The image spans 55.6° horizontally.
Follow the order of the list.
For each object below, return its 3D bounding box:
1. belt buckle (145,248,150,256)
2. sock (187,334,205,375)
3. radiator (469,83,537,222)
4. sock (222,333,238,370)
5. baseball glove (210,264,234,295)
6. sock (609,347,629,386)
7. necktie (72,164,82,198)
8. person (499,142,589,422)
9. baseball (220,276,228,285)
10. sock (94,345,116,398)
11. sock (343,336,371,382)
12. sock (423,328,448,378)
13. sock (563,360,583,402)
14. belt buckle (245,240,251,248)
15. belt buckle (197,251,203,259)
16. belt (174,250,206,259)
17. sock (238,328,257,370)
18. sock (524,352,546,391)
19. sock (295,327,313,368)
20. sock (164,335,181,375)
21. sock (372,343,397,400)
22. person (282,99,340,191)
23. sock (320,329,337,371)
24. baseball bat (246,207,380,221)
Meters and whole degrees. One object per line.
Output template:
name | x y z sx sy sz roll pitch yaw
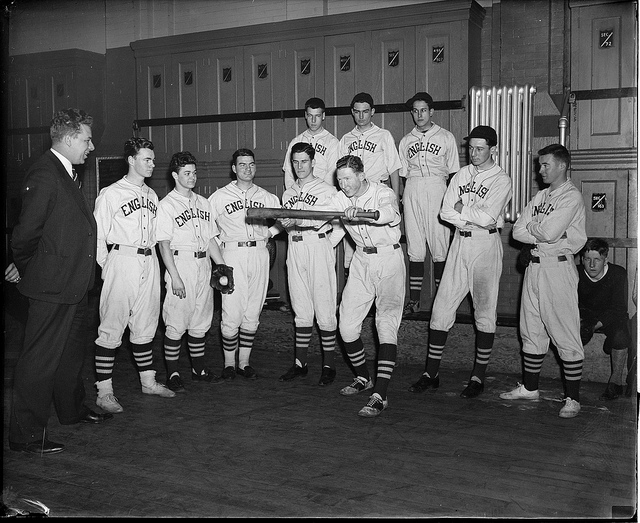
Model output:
belt buckle | -1.592 -0.089 5.567 0.045 0.086 0.062 1 0 1
sock | -1.288 0.959 6.301 0.153 0.448 0.187 -2 7 -17
radiator | 2.219 -1.314 7.403 0.707 1.623 0.209 2 7 22
sock | -0.969 0.949 6.478 0.148 0.376 0.114 1 7 8
baseball glove | -0.987 0.177 6.107 0.200 0.284 0.110 -22 -1 1
sock | 2.911 1.021 5.910 0.138 0.351 0.184 3 7 27
necktie | -1.960 -0.653 4.880 0.052 0.227 0.126 -7 4 -22
person | 2.053 0.146 5.529 0.692 2.382 0.541 4 8 32
baseball | -0.975 0.192 6.123 0.066 0.083 0.068 -1 7 -2
sock | -1.946 0.983 5.522 0.183 0.472 0.151 -3 7 -25
sock | 0.354 0.953 5.920 0.217 0.499 0.366 1 7 13
sock | 1.159 0.916 6.078 0.191 0.507 0.125 0 6 5
sock | 2.264 1.054 5.433 0.161 0.370 0.155 0 7 3
belt buckle | -0.770 -0.184 6.461 0.068 0.077 0.047 2 2 -7
belt buckle | -1.198 -0.066 6.053 0.043 0.054 0.053 -2 -8 -7
belt | -1.297 -0.077 6.044 0.305 0.086 0.080 -2 7 -14
sock | -0.818 0.927 6.606 0.149 0.439 0.200 -4 8 -30
sock | 2.008 1.033 5.706 0.169 0.381 0.131 2 7 16
sock | -0.179 0.903 6.452 0.157 0.458 0.138 -1 7 -11
sock | -1.492 0.933 6.135 0.163 0.398 0.142 -3 7 -21
sock | 0.576 0.991 5.457 0.180 0.522 0.185 1 7 12
person | -0.119 -1.277 7.314 0.809 1.307 0.707 5 10 16
sock | 0.119 0.911 6.341 0.150 0.449 0.232 6 9 43
baseball bat | -0.036 -0.426 5.401 1.044 0.159 0.126 3 6 2
